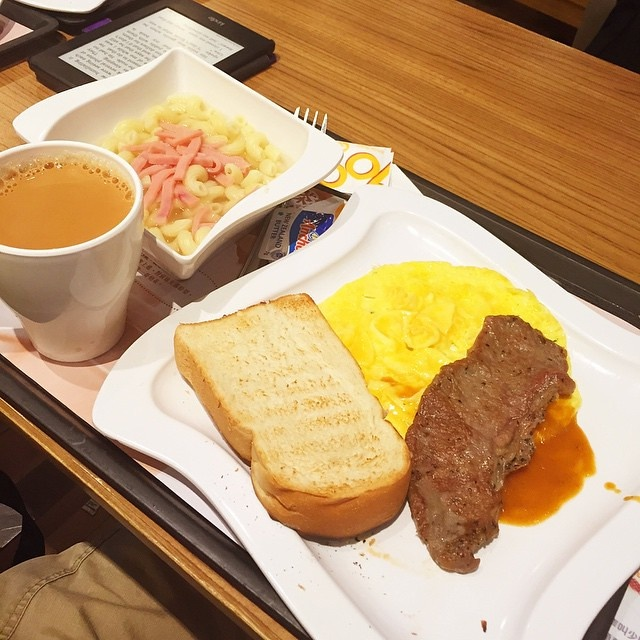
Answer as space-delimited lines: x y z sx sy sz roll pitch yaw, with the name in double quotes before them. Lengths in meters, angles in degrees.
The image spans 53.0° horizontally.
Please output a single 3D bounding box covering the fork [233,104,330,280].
"fork" -0.082 -0.256 1.347 0.060 0.037 0.469 28 71 1
